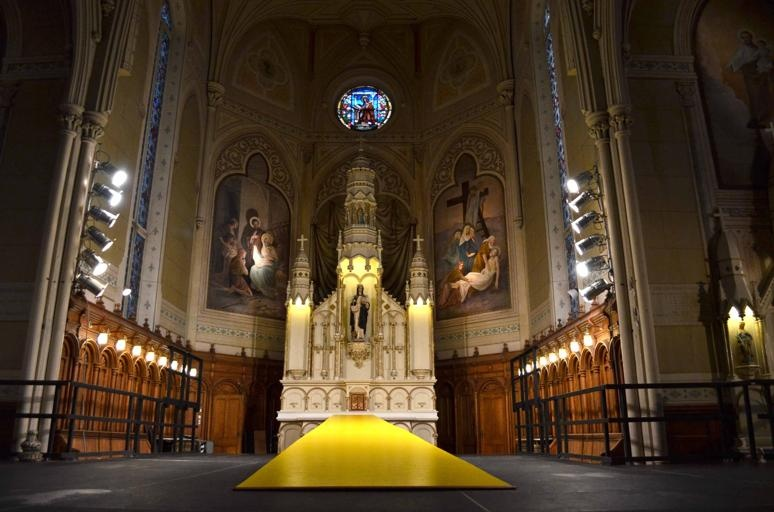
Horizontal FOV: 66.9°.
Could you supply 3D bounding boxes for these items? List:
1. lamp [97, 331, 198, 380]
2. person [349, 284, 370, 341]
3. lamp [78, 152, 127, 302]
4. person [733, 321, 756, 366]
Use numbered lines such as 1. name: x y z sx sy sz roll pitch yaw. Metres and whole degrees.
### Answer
1. lamp: -6.295 2.616 15.192 0.731 0.575 5.167 0 -16 21
2. person: -0.912 1.918 19.781 0.684 1.828 0.324 1 -22 -4
3. lamp: -6.486 -0.845 13.371 0.733 3.809 2.317 11 -25 -25
4. person: 6.820 1.697 11.215 0.353 0.828 0.200 -12 -25 26
